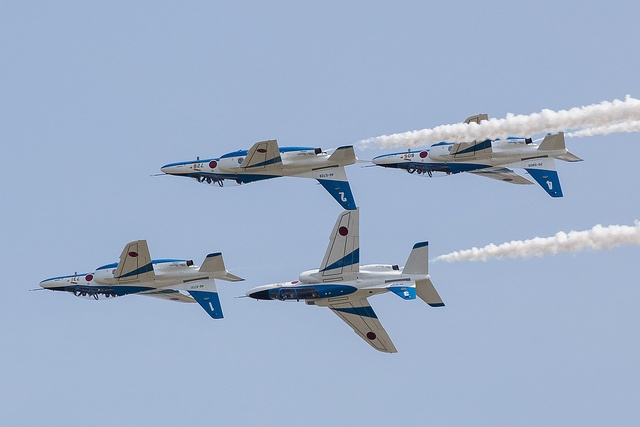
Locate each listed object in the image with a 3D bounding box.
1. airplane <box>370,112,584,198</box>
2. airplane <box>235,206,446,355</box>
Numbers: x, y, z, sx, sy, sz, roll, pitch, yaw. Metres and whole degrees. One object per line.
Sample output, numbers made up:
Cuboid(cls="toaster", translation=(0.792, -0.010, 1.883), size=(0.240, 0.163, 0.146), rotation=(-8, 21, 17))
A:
Cuboid(cls="airplane", translation=(7.090, -2.333, 47.639), size=(6.684, 1.470, 6.413), rotation=(-3, -6, 20))
Cuboid(cls="airplane", translation=(1.521, 2.360, 45.420), size=(6.549, 4.823, 2.417), rotation=(-6, -15, 29))
